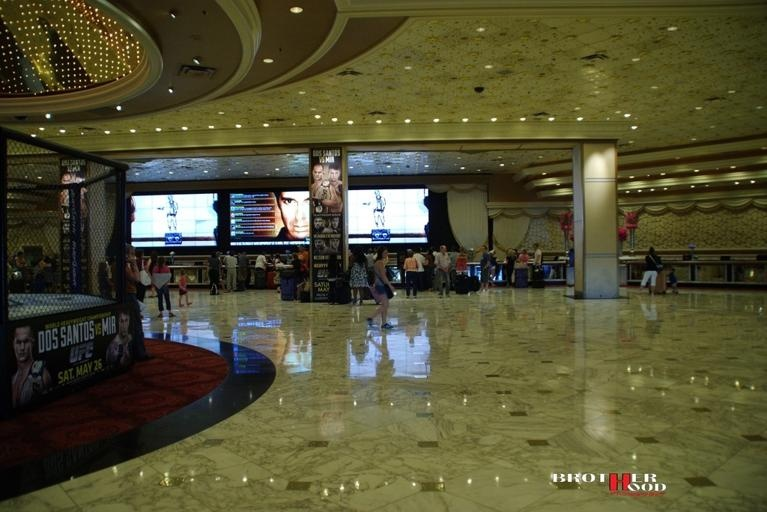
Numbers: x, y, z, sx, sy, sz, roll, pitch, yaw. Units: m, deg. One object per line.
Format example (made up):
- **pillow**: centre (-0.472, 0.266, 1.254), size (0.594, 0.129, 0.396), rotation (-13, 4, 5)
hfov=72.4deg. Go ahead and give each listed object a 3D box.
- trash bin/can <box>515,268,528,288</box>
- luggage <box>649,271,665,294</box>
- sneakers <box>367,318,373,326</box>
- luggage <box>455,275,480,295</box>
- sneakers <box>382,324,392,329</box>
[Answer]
- **trash bin/can**: centre (4.955, 0.790, 18.739), size (0.696, 0.791, 0.632), rotation (-1, 4, 11)
- **luggage**: centre (7.995, 0.758, 15.240), size (0.231, 0.692, 0.389), rotation (-4, 11, -11)
- **sneakers**: centre (-0.243, 1.250, 9.887), size (0.149, 0.123, 0.182), rotation (-1, -23, -13)
- **luggage**: centre (2.703, 0.900, 16.634), size (1.058, 0.496, 0.676), rotation (0, -11, -19)
- **sneakers**: centre (0.072, 1.289, 9.608), size (0.206, 0.075, 0.064), rotation (0, -2, -4)
